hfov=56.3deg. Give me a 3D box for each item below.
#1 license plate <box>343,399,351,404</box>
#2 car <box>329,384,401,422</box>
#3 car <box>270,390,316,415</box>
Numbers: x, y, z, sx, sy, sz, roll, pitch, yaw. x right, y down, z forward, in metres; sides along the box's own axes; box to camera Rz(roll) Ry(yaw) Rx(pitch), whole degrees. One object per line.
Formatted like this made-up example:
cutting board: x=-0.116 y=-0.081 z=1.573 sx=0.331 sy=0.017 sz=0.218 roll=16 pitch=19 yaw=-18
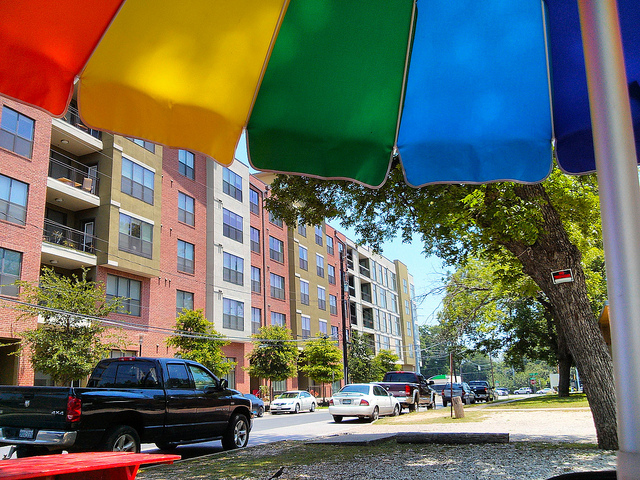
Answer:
license plate: x=1.087 y=6.600 z=24.491 sx=0.234 sy=0.145 sz=0.030 roll=-1 pitch=-12 yaw=13
car: x=1.917 y=6.942 z=25.554 sx=1.537 sy=1.533 sz=3.129 roll=-16 pitch=-22 yaw=29
car: x=-1.797 y=10.171 z=37.611 sx=1.627 sy=1.599 sz=4.072 roll=-10 pitch=-19 yaw=15
